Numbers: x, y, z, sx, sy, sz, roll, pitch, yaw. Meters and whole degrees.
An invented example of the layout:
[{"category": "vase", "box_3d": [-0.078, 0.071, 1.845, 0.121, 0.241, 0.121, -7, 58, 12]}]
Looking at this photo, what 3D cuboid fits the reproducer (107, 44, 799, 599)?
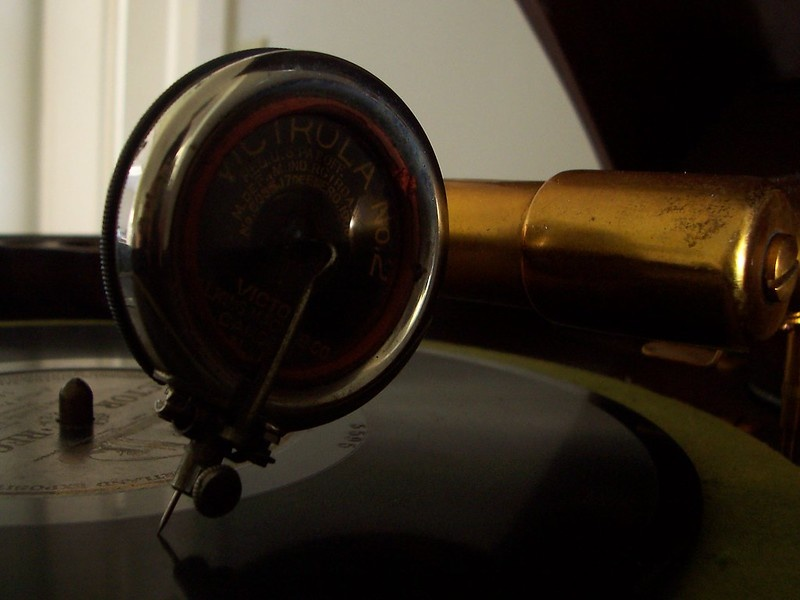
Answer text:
[{"category": "reproducer", "box_3d": [0.095, -0.024, 0.752, 0.626, 0.405, 0.492, -10, 17, -44]}]
